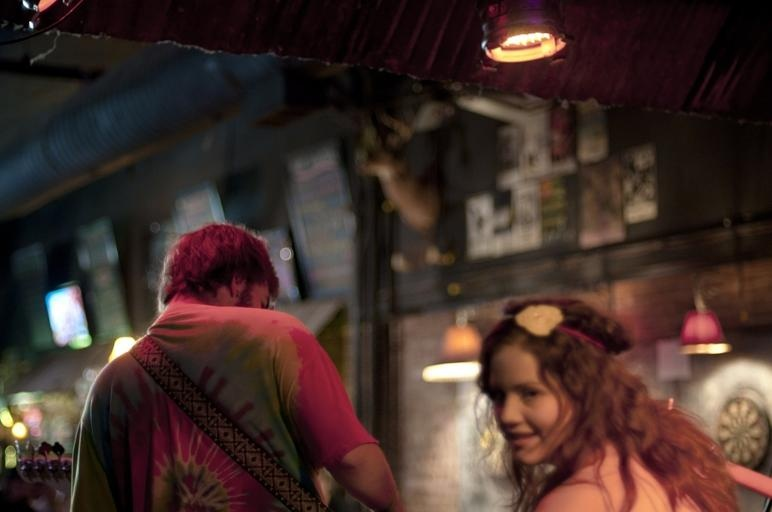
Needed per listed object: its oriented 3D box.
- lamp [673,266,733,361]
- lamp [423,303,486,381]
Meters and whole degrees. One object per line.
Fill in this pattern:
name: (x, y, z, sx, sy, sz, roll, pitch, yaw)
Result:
lamp: (2.520, 0.567, 9.577, 0.379, 0.658, 0.380, -5, -10, 10)
lamp: (0.605, 0.737, 10.251, 0.460, 0.630, 0.525, 0, -14, 8)
